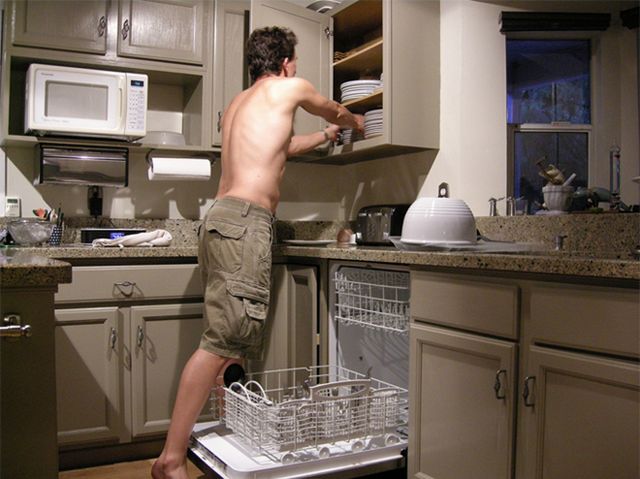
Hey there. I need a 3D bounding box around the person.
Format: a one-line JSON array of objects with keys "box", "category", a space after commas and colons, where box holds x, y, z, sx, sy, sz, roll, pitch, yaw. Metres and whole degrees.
[{"box": [-0.322, 0.097, 2.490, 0.454, 1.708, 0.928, 2, 5, 24], "category": "person"}]

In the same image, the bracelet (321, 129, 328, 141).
[{"box": [0.031, -0.581, 3.027, 0.011, 0.049, 0.046, -18, -7, 3], "category": "bracelet"}]

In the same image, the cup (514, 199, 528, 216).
[{"box": [0.990, -0.163, 2.683, 0.060, 0.079, 0.077, 0, 0, 3], "category": "cup"}]

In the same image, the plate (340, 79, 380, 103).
[{"box": [0.230, -0.857, 3.241, 0.154, 0.069, 0.152, -1, 8, 25], "category": "plate"}]

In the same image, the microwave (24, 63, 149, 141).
[{"box": [-1.260, -0.730, 2.922, 0.559, 0.398, 0.373, 0, -1, -25], "category": "microwave"}]

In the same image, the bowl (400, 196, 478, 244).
[{"box": [0.509, -0.068, 2.342, 0.329, 0.217, 0.334, 2, 1, 0], "category": "bowl"}]

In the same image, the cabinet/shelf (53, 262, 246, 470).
[{"box": [-0.809, 0.591, 2.500, 0.969, 1.087, 0.504, 0, -2, -32], "category": "cabinet/shelf"}]

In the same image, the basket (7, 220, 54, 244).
[{"box": [-1.436, -0.017, 2.722, 0.130, 0.089, 0.138, 0, -4, -4], "category": "basket"}]

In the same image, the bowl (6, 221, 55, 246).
[{"box": [-1.470, -0.034, 2.743, 0.212, 0.135, 0.151, 0, 5, 3], "category": "bowl"}]

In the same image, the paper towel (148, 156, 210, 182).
[{"box": [-0.795, -0.400, 3.138, 0.313, 0.139, 0.142, -2, 24, -21], "category": "paper towel"}]

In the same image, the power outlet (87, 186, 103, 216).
[{"box": [-1.329, -0.230, 3.221, 0.086, 0.178, 0.038, -2, 4, -15], "category": "power outlet"}]

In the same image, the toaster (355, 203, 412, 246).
[{"box": [0.348, -0.083, 3.128, 0.266, 0.228, 0.204, 1, -2, 40], "category": "toaster"}]

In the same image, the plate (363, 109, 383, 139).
[{"box": [0.301, -0.651, 3.050, 0.124, 0.101, 0.132, -4, 9, -15], "category": "plate"}]
